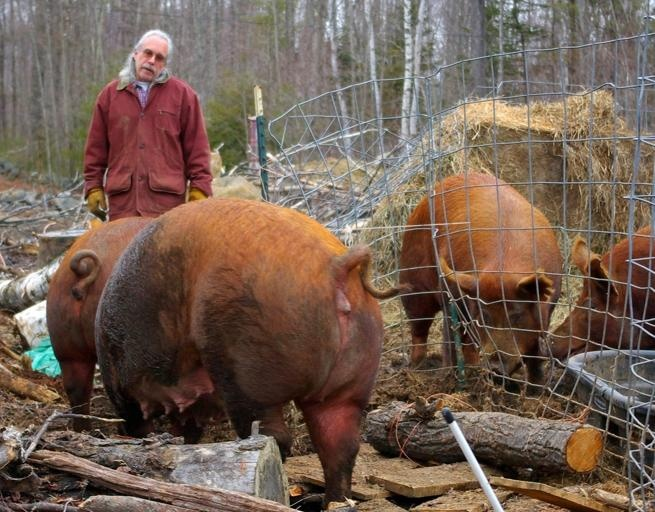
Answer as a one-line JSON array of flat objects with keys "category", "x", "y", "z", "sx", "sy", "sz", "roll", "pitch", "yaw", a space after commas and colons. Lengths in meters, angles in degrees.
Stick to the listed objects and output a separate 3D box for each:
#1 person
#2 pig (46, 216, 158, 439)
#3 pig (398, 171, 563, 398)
[{"category": "person", "x": -1.573, "y": -1.153, "z": 9.253, "sx": 1.097, "sy": 1.658, "sz": 0.474, "roll": -1, "pitch": 5, "yaw": -7}, {"category": "pig", "x": -1.545, "y": 0.394, "z": 8.056, "sx": 0.652, "sy": 1.392, "sz": 1.963, "roll": 1, "pitch": 7, "yaw": -4}, {"category": "pig", "x": 1.579, "y": 0.369, "z": 9.272, "sx": 1.444, "sy": 1.965, "sz": 1.474, "roll": 0, "pitch": 15, "yaw": -11}]
